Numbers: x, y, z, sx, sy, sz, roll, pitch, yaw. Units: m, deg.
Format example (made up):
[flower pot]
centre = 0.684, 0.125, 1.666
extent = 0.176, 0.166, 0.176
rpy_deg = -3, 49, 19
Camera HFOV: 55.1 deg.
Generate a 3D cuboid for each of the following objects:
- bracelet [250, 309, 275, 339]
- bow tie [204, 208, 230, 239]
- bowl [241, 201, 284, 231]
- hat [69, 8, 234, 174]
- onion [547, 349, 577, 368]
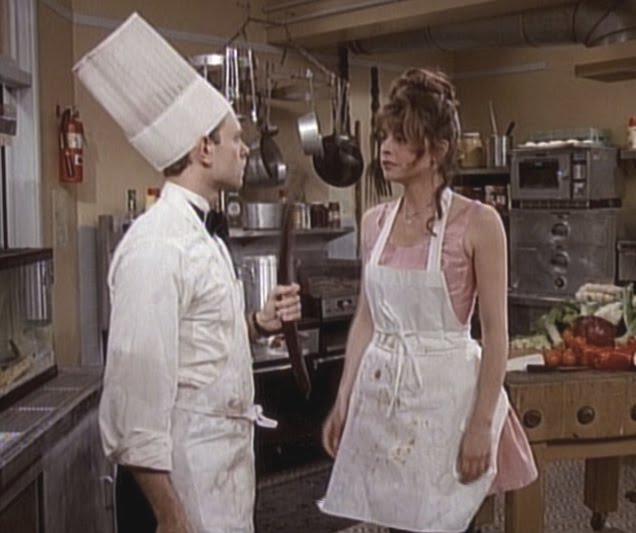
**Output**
[bracelet]
centre = -0.159, 0.164, 1.704
extent = 0.064, 0.074, 0.017
rpy_deg = 9, -7, -32
[bow tie]
centre = -0.253, -0.116, 1.532
extent = 0.051, 0.081, 0.052
rpy_deg = 6, -18, -26
[bowl]
centre = -0.300, -0.267, 3.312
extent = 0.226, 0.147, 0.164
rpy_deg = 1, 2, -5
[hat]
centre = -0.375, -0.399, 1.453
extent = 0.293, 0.384, 0.102
rpy_deg = -39, 13, 5
[onion]
centre = 0.896, 0.341, 2.276
extent = 0.062, 0.040, 0.092
rpy_deg = 0, -7, -1
